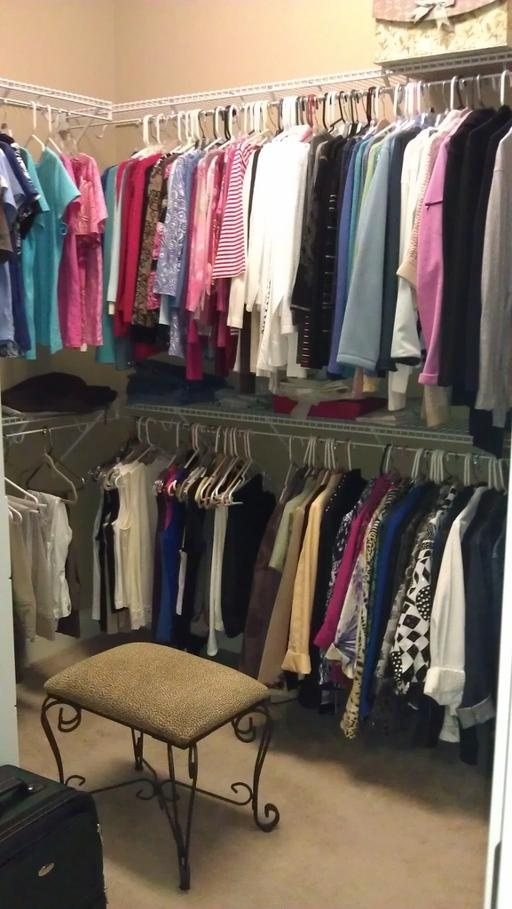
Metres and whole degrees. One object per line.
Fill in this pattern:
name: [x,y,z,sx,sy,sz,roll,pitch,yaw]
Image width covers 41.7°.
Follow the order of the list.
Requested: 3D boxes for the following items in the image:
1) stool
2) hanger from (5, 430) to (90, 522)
stool: [-0.268,0.794,1.773,0.529,0.563,0.393,6,10,34]
hanger: [-0.863,0.086,2.844,0.327,0.400,0.081,-4,7,-42]
